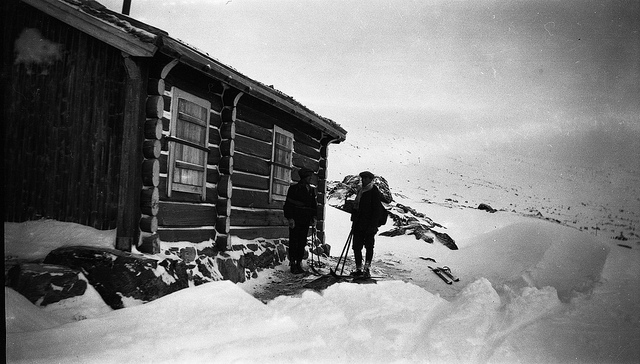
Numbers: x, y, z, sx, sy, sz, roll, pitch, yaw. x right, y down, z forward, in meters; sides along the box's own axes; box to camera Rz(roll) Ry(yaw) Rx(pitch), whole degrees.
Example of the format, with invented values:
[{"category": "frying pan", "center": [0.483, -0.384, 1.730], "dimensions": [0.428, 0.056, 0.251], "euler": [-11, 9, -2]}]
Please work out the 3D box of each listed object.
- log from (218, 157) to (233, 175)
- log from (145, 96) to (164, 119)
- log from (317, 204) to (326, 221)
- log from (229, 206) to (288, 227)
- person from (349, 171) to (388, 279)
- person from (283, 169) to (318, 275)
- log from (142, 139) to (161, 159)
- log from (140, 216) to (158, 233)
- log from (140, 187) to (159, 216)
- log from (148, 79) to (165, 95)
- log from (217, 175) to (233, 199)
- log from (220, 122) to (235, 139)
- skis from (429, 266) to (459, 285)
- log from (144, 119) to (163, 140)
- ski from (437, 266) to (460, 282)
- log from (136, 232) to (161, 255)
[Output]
[{"category": "log", "center": [-2.282, -0.404, 10.703], "dimensions": [0.403, 0.493, 0.376], "euler": [1, 0, 1]}, {"category": "log", "center": [-3.591, -1.606, 9.233], "dimensions": [0.248, 0.428, 0.444], "euler": [1, 10, -2]}, {"category": "log", "center": [0.061, 0.963, 13.439], "dimensions": [0.137, 0.508, 0.478], "euler": [0, -4, 18]}, {"category": "log", "center": [-1.648, 0.935, 11.522], "dimensions": [0.154, 0.543, 2.028], "euler": [-1, -4, 34]}, {"category": "person", "center": [1.191, 1.071, 10.777], "dimensions": [0.792, 2.640, 0.729], "euler": [2, -4, -7]}, {"category": "person", "center": [-0.498, 1.029, 11.180], "dimensions": [0.733, 2.674, 0.670], "euler": [0, -4, 14]}, {"category": "log", "center": [-3.633, -0.708, 9.182], "dimensions": [0.230, 0.383, 0.410], "euler": [-1, -2, 8]}, {"category": "log", "center": [-3.632, 0.906, 9.154], "dimensions": [0.366, 0.323, 0.327], "euler": [-1, 14, -6]}, {"category": "log", "center": [-3.666, 0.415, 9.175], "dimensions": [0.372, 0.616, 0.175], "euler": [3, -4, -22]}, {"category": "log", "center": [-3.520, -2.019, 9.353], "dimensions": [0.338, 0.308, 0.323], "euler": [2, -19, 16]}, {"category": "log", "center": [-2.337, 0.124, 10.453], "dimensions": [0.332, 0.577, 0.160], "euler": [2, -4, -10]}, {"category": "log", "center": [-2.288, -1.252, 10.509], "dimensions": [0.333, 0.403, 0.101], "euler": [1, -4, 10]}, {"category": "skis", "center": [3.317, 2.522, 11.533], "dimensions": [0.301, 0.087, 0.502], "euler": [-9, 25, -35]}, {"category": "log", "center": [-3.609, -1.127, 9.204], "dimensions": [0.233, 0.391, 0.421], "euler": [1, 5, 8]}, {"category": "ski", "center": [3.518, 2.473, 11.615], "dimensions": [0.289, 0.112, 0.435], "euler": [-28, 40, -31]}, {"category": "log", "center": [-3.662, 1.298, 9.098], "dimensions": [0.470, 0.443, 0.464], "euler": [-2, -5, 16]}]
